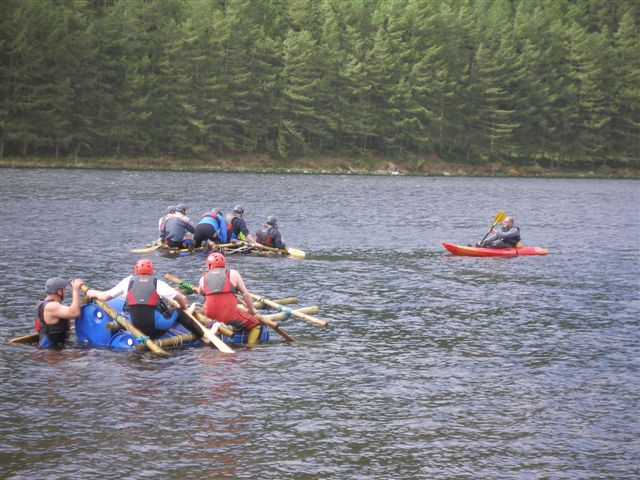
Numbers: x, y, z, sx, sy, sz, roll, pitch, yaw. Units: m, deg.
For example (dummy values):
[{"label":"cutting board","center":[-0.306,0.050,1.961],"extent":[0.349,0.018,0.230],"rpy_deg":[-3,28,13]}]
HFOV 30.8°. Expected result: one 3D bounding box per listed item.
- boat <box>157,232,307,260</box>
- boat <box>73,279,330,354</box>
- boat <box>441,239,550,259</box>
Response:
[{"label":"boat","center":[-6.058,0.710,91.795],"extent":[11.655,0.770,3.363],"rpy_deg":[0,-4,-14]},{"label":"boat","center":[-10.685,6.403,79.141],"extent":[22.291,3.938,8.395],"rpy_deg":[-4,11,-34]},{"label":"boat","center":[14.290,1.025,93.839],"extent":[10.960,1.095,5.097],"rpy_deg":[5,8,35]}]
